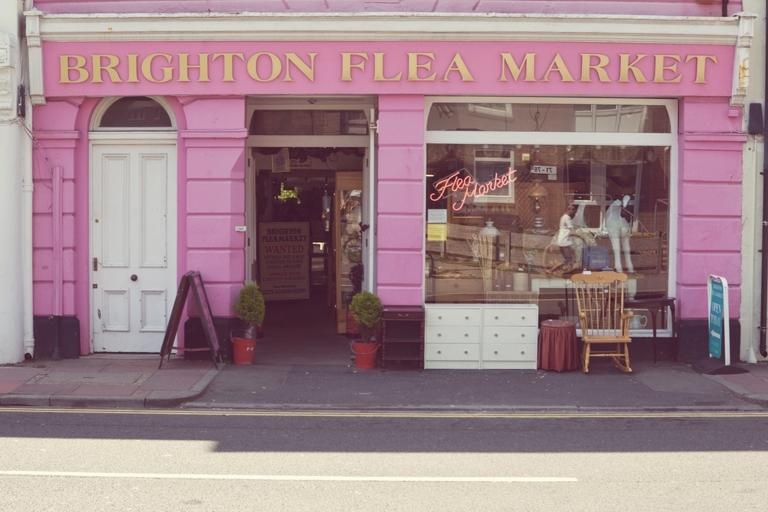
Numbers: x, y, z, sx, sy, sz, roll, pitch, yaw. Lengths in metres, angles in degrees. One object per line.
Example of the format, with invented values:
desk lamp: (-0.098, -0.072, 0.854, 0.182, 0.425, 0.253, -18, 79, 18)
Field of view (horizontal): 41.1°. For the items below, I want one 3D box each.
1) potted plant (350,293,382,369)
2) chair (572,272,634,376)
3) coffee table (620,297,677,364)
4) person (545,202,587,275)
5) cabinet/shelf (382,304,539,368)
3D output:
potted plant: (-0.299, 1.239, 17.452, 0.547, 1.291, 0.574, 0, 14, -1)
chair: (3.748, 1.188, 17.548, 0.932, 1.769, 1.011, 0, 0, 11)
coffee table: (4.482, 1.209, 17.910, 1.082, 1.267, 0.918, -4, -4, 40)
person: (3.256, -0.315, 18.134, 0.553, 1.217, 0.568, 2, 0, 4)
cabinet/shelf: (1.618, 1.389, 17.238, 2.382, 1.087, 0.502, 0, 10, -5)
